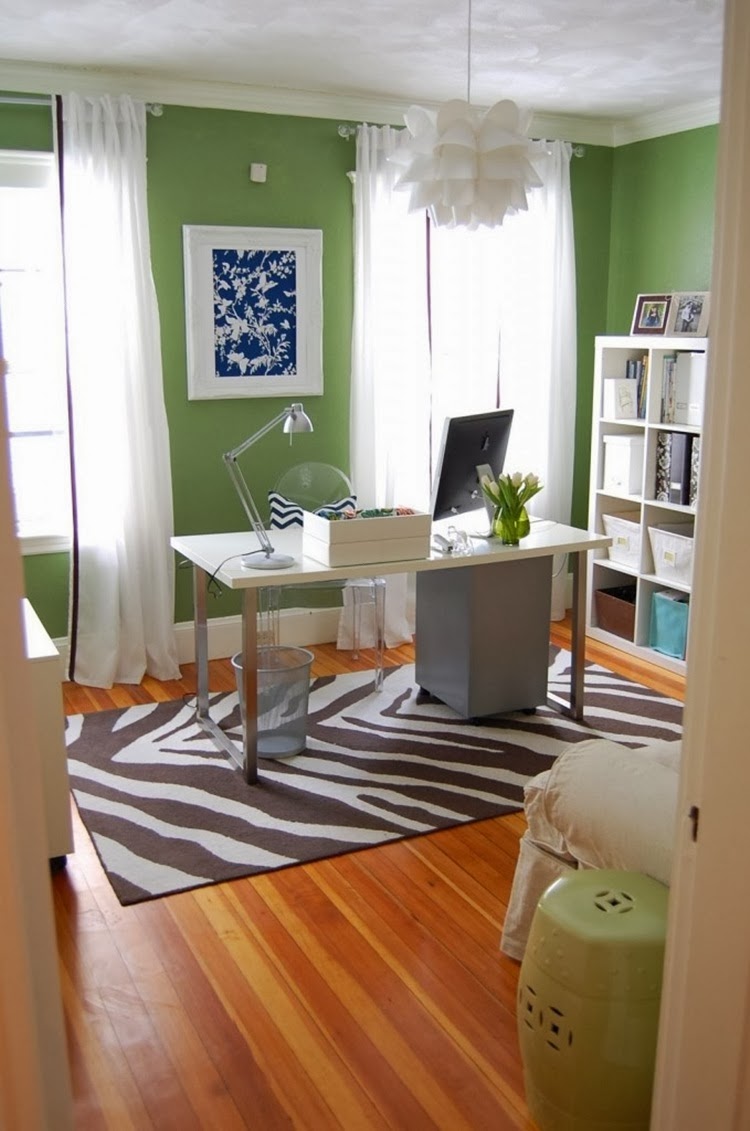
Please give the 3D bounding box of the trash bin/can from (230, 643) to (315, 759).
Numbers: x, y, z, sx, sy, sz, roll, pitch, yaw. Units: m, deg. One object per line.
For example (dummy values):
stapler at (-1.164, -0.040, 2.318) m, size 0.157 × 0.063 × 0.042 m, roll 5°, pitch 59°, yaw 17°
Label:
trash bin/can at (-0.396, 0.535, 3.393) m, size 0.364 × 0.455 × 0.392 m, roll -2°, pitch 10°, yaw -18°

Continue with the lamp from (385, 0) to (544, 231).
lamp at (0.290, -1.308, 2.678) m, size 0.473 × 0.387 × 0.323 m, roll 2°, pitch 10°, yaw 11°

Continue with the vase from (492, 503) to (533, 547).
vase at (0.578, -0.173, 3.520) m, size 0.145 × 0.168 × 0.154 m, roll -1°, pitch 5°, yaw -4°

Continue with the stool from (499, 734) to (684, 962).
stool at (0.433, 0.713, 2.046) m, size 0.357 × 0.315 × 0.366 m, roll 19°, pitch -19°, yaw -7°

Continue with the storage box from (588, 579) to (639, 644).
storage box at (1.386, 0.259, 4.758) m, size 0.281 × 0.192 × 0.200 m, roll -7°, pitch 13°, yaw -31°

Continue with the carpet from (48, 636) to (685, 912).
carpet at (-0.158, 0.745, 3.234) m, size 1.381 × 0.023 × 1.951 m, roll 22°, pitch -41°, yaw -15°

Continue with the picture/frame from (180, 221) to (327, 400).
picture/frame at (-0.653, -1.338, 4.249) m, size 0.776 × 0.948 × 0.051 m, roll -8°, pitch 17°, yaw -28°

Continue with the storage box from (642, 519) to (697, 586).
storage box at (1.433, -0.064, 4.063) m, size 0.370 × 0.279 × 0.255 m, roll -6°, pitch 12°, yaw -27°

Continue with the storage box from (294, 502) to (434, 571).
storage box at (-0.030, -0.110, 3.203) m, size 0.485 × 0.184 × 0.230 m, roll -2°, pitch 10°, yaw -7°

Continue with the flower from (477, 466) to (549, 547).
flower at (0.589, -0.248, 3.618) m, size 0.291 × 0.380 × 0.306 m, roll 1°, pitch 2°, yaw -12°

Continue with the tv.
tv at (0.428, -0.384, 3.605) m, size 0.204 × 0.537 × 0.545 m, roll 24°, pitch 34°, yaw 33°
